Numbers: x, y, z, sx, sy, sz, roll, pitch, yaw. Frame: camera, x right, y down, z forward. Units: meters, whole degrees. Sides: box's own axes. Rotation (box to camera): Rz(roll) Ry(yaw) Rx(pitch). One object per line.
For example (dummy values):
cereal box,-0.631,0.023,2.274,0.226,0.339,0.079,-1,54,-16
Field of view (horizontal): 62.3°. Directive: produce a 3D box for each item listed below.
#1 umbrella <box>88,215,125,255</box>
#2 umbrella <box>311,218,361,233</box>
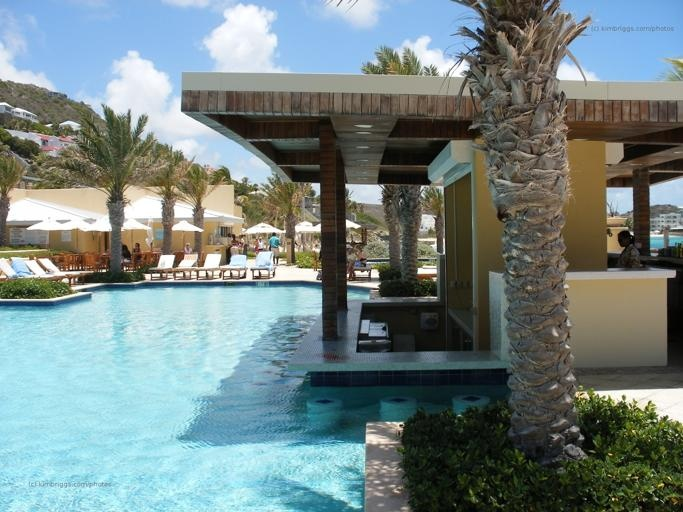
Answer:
umbrella,-11.111,-1.055,26.732,2.816,1.509,2.496,1,-2,-20
umbrella,0.324,-1.544,28.092,1.924,0.494,1.634,0,0,-1
